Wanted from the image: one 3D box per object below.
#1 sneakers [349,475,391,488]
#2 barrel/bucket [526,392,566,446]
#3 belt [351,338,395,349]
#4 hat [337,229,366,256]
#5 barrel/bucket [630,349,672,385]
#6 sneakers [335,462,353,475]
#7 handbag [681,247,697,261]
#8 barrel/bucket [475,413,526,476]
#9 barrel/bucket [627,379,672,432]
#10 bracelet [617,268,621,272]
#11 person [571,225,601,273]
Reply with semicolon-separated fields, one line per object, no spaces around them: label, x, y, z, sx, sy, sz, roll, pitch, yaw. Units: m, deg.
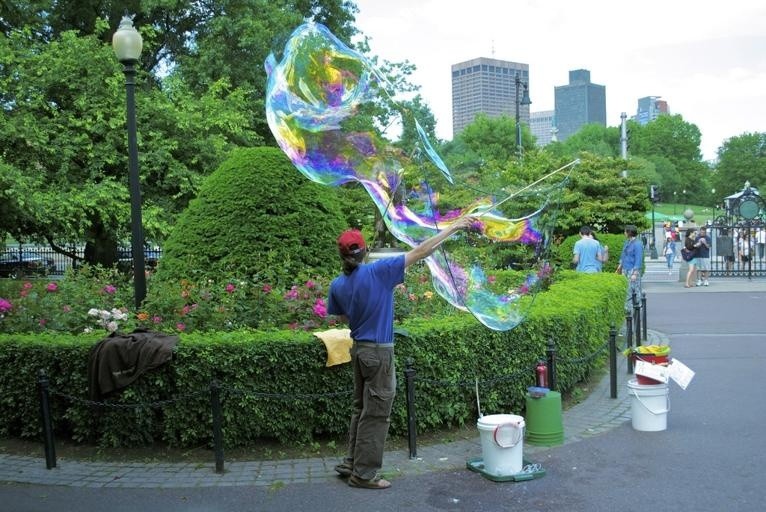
sneakers;-0.185;3.187;10.931;0.611;0.257;0.211;-2;1;-2
barrel/bucket;2.503;2.522;12.000;0.730;0.768;0.796;0;-3;0
belt;-0.152;1.213;10.752;0.554;0.143;0.134;-1;12;1
hat;-0.452;-0.227;10.888;0.276;0.212;0.392;-4;15;-2
barrel/bucket;4.576;1.837;13.013;0.562;0.520;0.582;0;-13;0
sneakers;-0.569;3.090;11.054;0.141;0.129;0.272;26;-15;10
handbag;10.951;-0.102;27.251;0.407;0.500;0.253;9;30;40
barrel/bucket;1.739;2.752;11.310;0.780;0.667;0.781;-1;-1;0
barrel/bucket;4.420;2.468;12.605;0.720;0.665;0.726;0;-2;0
bracelet;6.240;0.351;20.257;0.037;0.118;0.121;17;-6;27
person;5.088;-0.202;18.822;0.649;1.217;0.960;5;14;27
